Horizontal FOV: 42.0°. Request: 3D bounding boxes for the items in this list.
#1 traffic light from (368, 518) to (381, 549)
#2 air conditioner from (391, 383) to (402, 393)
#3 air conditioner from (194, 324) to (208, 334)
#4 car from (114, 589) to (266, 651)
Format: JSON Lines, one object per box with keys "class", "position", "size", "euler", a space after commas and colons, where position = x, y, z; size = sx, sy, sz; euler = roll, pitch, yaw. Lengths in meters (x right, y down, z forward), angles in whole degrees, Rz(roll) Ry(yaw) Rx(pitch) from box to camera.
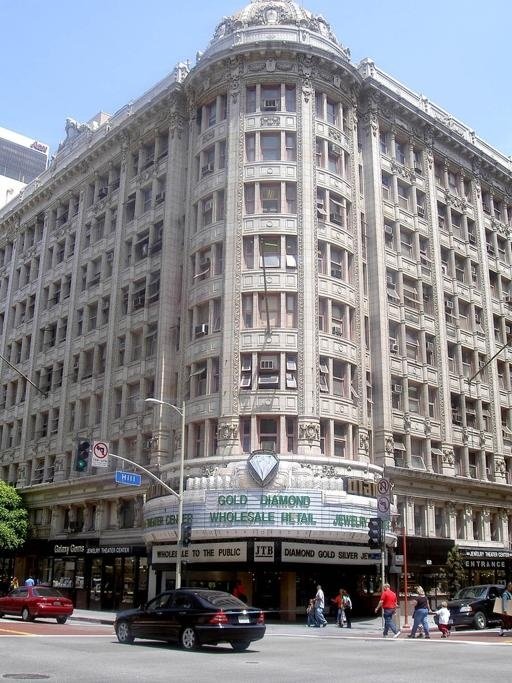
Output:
{"class": "traffic light", "position": [4.085, 6.511, 22.721], "size": [0.359, 0.968, 0.723], "euler": [11, -22, -27]}
{"class": "air conditioner", "position": [8.662, 2.934, 41.072], "size": [0.468, 0.606, 0.864], "euler": [-6, -11, 27]}
{"class": "air conditioner", "position": [-2.974, -0.623, 36.815], "size": [0.501, 0.593, 0.877], "euler": [7, -18, -25]}
{"class": "car", "position": [-1.639, 6.683, 16.166], "size": [4.147, 1.287, 1.957], "euler": [-17, -26, 42]}
